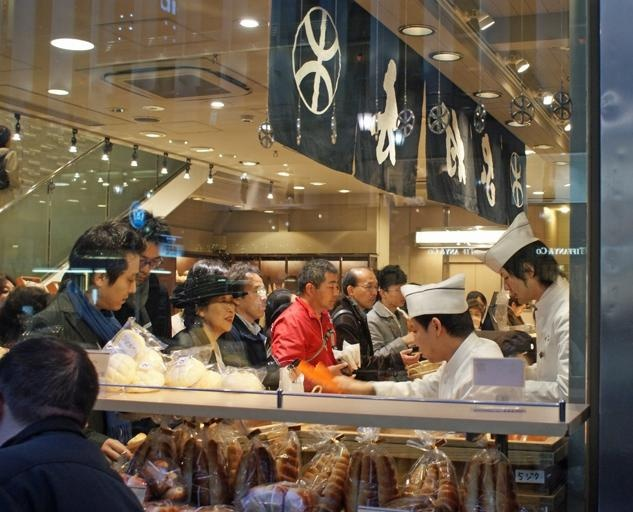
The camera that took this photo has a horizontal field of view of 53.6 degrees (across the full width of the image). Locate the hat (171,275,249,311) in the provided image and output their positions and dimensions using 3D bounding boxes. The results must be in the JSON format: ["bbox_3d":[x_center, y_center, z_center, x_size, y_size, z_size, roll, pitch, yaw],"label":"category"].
[{"bbox_3d":[-0.355,0.114,2.059,0.152,0.066,0.132,-11,-3,5],"label":"hat"}]

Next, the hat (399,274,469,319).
[{"bbox_3d":[0.345,0.120,1.810,0.156,0.098,0.110,-8,-2,23],"label":"hat"}]
